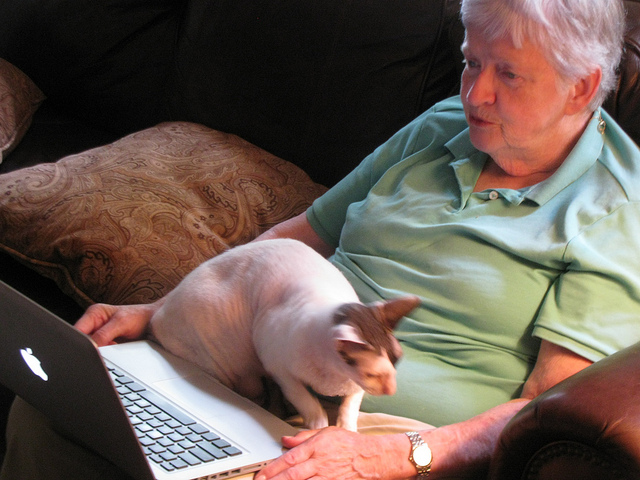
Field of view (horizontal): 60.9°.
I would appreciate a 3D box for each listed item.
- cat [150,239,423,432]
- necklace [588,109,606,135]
[{"bbox_3d":[-0.051,0.151,0.945,0.480,0.244,0.267,24,21,40],"label":"cat"},{"bbox_3d":[0.575,-0.245,1.126,0.030,0.012,0.040,16,68,-42],"label":"necklace"}]
